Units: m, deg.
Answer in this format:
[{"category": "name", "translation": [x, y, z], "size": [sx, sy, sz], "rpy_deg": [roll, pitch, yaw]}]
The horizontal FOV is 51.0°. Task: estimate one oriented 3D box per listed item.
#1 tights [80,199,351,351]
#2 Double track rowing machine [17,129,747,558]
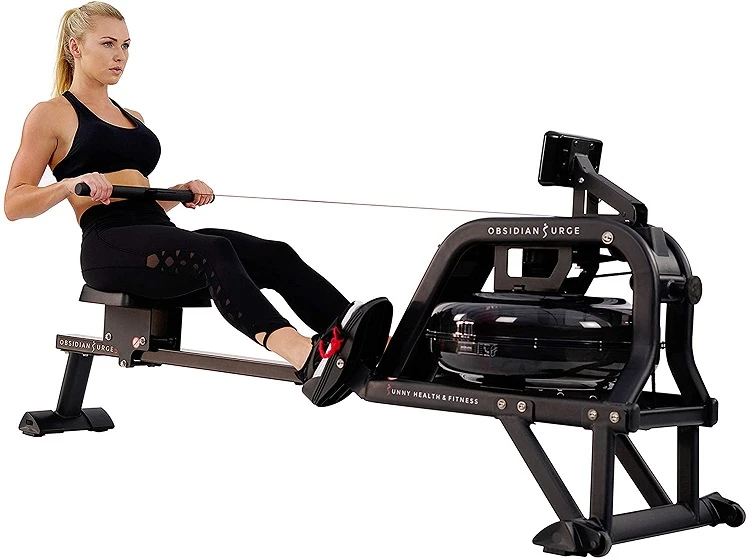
[{"category": "tights", "translation": [-0.626, -0.036, 2.925], "size": [0.803, 0.531, 0.555], "rpy_deg": [-7, -4, 20]}, {"category": "Double track rowing machine", "translation": [-0.137, 0.163, 3.190], "size": [2.878, 1.237, 1.033], "rpy_deg": [2, 2, 32]}]
